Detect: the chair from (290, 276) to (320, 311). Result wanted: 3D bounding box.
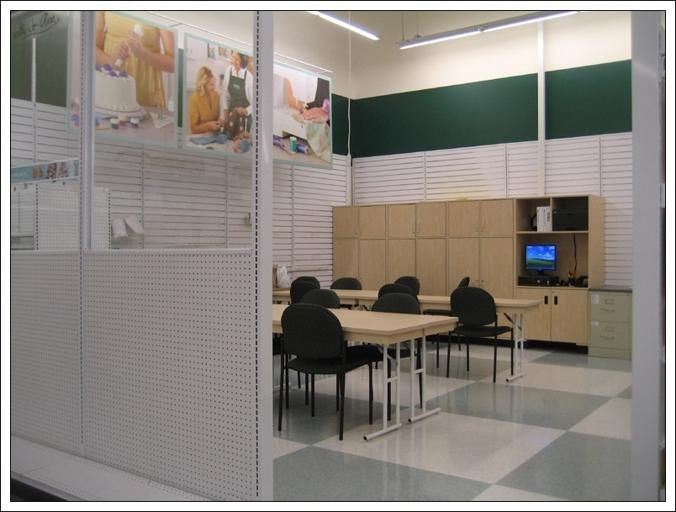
[{"bbox_3d":[-0.512,0.480,7.684,0.343,0.467,0.410,-1,-6,17],"label":"chair"}]

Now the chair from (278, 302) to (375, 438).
[{"bbox_3d":[-0.101,1.025,5.124,0.760,1.187,0.828,-1,0,18],"label":"chair"}]

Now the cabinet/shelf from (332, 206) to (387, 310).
[{"bbox_3d":[0.409,0.151,10.408,0.990,1.882,0.501,0,-3,4],"label":"cabinet/shelf"}]

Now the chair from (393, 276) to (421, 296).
[{"bbox_3d":[1.072,0.442,8.462,0.285,0.386,0.344,-1,-14,18],"label":"chair"}]

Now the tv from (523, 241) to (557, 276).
[{"bbox_3d":[3.205,0.048,8.607,0.529,0.552,0.199,0,-3,30],"label":"tv"}]

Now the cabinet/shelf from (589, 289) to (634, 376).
[{"bbox_3d":[4.054,0.950,8.002,0.743,1.000,0.723,-5,5,-33],"label":"cabinet/shelf"}]

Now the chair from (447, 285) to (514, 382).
[{"bbox_3d":[1.822,0.944,6.950,0.746,1.175,0.735,0,0,-40],"label":"chair"}]

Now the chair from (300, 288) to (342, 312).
[{"bbox_3d":[-0.185,0.515,6.330,0.256,0.332,0.291,-1,-11,15],"label":"chair"}]
